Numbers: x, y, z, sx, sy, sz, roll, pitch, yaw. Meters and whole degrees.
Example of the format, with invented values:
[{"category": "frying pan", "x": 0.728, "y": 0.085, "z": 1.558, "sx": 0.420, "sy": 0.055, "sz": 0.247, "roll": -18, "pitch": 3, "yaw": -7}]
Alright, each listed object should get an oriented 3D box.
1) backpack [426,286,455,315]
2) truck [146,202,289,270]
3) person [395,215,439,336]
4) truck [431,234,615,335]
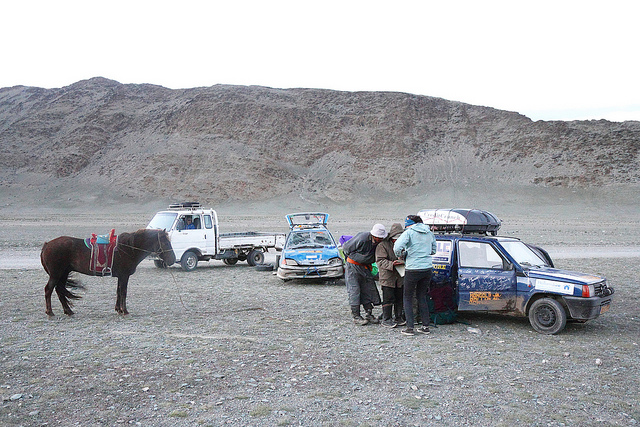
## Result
[{"category": "backpack", "x": 2.708, "y": 2.049, "z": 12.567, "sx": 0.871, "sy": 0.701, "sz": 0.449, "roll": 5, "pitch": -19, "yaw": -33}, {"category": "truck", "x": -2.722, "y": 0.832, "z": 21.602, "sx": 6.409, "sy": 2.615, "sz": 2.950, "roll": -4, "pitch": -1, "yaw": 38}, {"category": "person", "x": 2.090, "y": 1.355, "z": 11.908, "sx": 0.806, "sy": 2.597, "sz": 0.963, "roll": 4, "pitch": 13, "yaw": 19}, {"category": "truck", "x": 4.494, "y": 1.424, "z": 12.563, "sx": 4.327, "sy": 1.622, "sz": 1.969, "roll": -2, "pitch": 2, "yaw": 29}]
